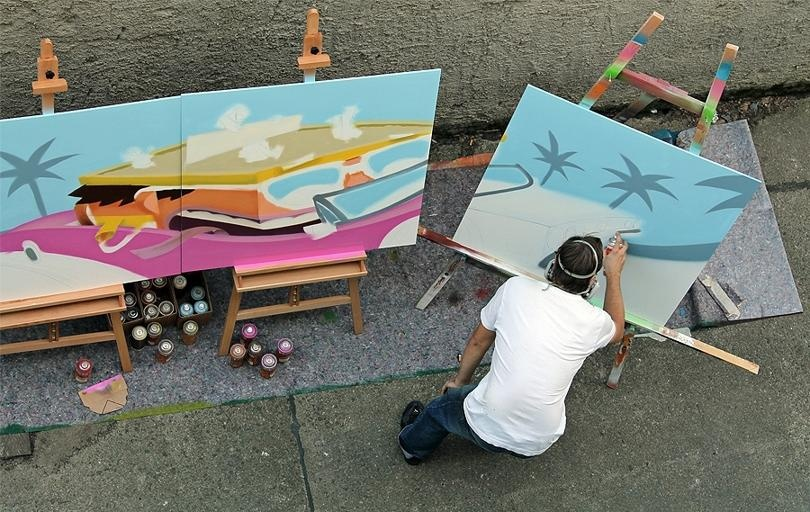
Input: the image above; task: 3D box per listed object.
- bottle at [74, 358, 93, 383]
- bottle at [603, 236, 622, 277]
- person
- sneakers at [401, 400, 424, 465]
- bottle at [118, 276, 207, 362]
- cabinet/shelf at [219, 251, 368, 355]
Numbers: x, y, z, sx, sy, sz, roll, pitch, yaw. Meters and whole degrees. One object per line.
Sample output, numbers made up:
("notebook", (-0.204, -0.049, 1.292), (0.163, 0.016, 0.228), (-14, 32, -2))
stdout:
("bottle", (-2.141, 0.765, 4.158), (0.108, 0.117, 0.102), (21, 60, -10))
("bottle", (1.337, -0.003, 4.008), (0.177, 0.083, 0.225), (4, 85, 35))
("person", (0.720, 0.643, 4.019), (0.775, 1.419, 0.977), (27, 52, -10))
("sneakers", (0.023, 1.185, 4.249), (0.149, 0.180, 0.401), (11, 88, -1))
("bottle", (-1.651, 0.369, 4.309), (0.692, 0.242, 0.448), (-10, 78, -11))
("cabinet/shelf", (-0.795, 0.338, 4.309), (0.925, 0.627, 0.205), (-6, 53, -14))
